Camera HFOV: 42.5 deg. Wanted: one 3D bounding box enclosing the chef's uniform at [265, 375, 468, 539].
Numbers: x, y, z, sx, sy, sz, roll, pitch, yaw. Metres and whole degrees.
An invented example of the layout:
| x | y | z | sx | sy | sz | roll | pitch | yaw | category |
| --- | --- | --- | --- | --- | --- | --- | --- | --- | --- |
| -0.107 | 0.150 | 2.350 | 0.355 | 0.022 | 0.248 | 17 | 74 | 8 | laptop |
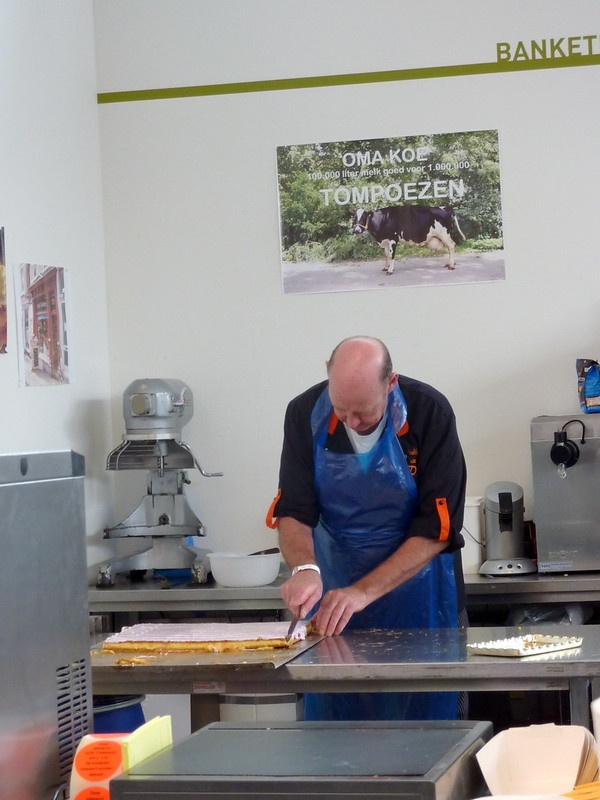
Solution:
| x | y | z | sx | sy | sz | roll | pitch | yaw | category |
| --- | --- | --- | --- | --- | --- | --- | --- | --- | --- |
| 0.280 | 0.158 | 2.242 | 0.748 | 0.655 | 0.413 | 1 | 6 | 15 | chef's uniform |

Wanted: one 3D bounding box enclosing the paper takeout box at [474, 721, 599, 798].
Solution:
| x | y | z | sx | sy | sz | roll | pitch | yaw | category |
| --- | --- | --- | --- | --- | --- | --- | --- | --- | --- |
| 0.246 | 0.376 | 0.798 | 0.125 | 0.059 | 0.073 | -2 | 4 | 9 | paper takeout box |

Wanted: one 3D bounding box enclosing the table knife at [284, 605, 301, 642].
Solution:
| x | y | z | sx | sy | sz | roll | pitch | yaw | category |
| --- | --- | --- | --- | --- | --- | --- | --- | --- | --- |
| -0.021 | 0.540 | 1.854 | 0.014 | 0.005 | 0.094 | 11 | 37 | 6 | table knife |

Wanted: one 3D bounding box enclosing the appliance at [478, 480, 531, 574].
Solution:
| x | y | z | sx | sy | sz | roll | pitch | yaw | category |
| --- | --- | --- | --- | --- | --- | --- | --- | --- | --- |
| 0.785 | 0.489 | 2.953 | 0.211 | 0.336 | 0.188 | -2 | 4 | 12 | appliance |

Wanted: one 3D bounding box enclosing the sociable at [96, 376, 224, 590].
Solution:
| x | y | z | sx | sy | sz | roll | pitch | yaw | category |
| --- | --- | --- | --- | --- | --- | --- | --- | --- | --- |
| -0.590 | 0.327 | 3.235 | 0.485 | 0.834 | 0.624 | -4 | 4 | -3 | sociable |
